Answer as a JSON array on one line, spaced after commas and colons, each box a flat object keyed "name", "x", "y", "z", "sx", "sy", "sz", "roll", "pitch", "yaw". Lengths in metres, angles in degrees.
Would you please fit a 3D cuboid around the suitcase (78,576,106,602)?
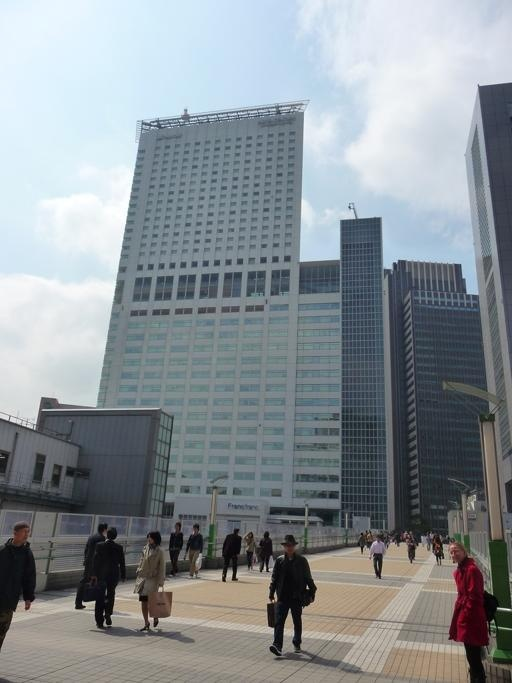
[{"name": "suitcase", "x": -2.673, "y": 4.135, "z": 7.405, "sx": 0.339, "sy": 0.357, "sz": 0.308, "roll": 7, "pitch": -17, "yaw": -10}]

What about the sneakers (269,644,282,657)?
[{"name": "sneakers", "x": 0.256, "y": 4.116, "z": 5.939, "sx": 0.171, "sy": 0.143, "sz": 0.129, "roll": 7, "pitch": -17, "yaw": -11}]

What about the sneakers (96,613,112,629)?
[{"name": "sneakers", "x": -2.508, "y": 4.690, "z": 7.503, "sx": 0.118, "sy": 0.180, "sz": 0.389, "roll": 3, "pitch": -2, "yaw": 5}]

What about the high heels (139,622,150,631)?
[{"name": "high heels", "x": -1.834, "y": 4.717, "z": 7.363, "sx": 0.237, "sy": 0.140, "sz": 0.083, "roll": -21, "pitch": -37, "yaw": 32}]

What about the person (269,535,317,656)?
[{"name": "person", "x": 0.533, "y": 3.705, "z": 6.529, "sx": 0.654, "sy": 1.553, "sz": 1.110, "roll": 2, "pitch": -17, "yaw": 4}]

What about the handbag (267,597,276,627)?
[{"name": "handbag", "x": 0.223, "y": 3.822, "z": 6.267, "sx": 0.097, "sy": 0.293, "sz": 0.279, "roll": 1, "pitch": -17, "yaw": 9}]

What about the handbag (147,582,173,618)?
[{"name": "handbag", "x": -1.608, "y": 4.438, "z": 7.492, "sx": 0.393, "sy": 0.517, "sz": 0.690, "roll": 7, "pitch": -18, "yaw": -11}]
